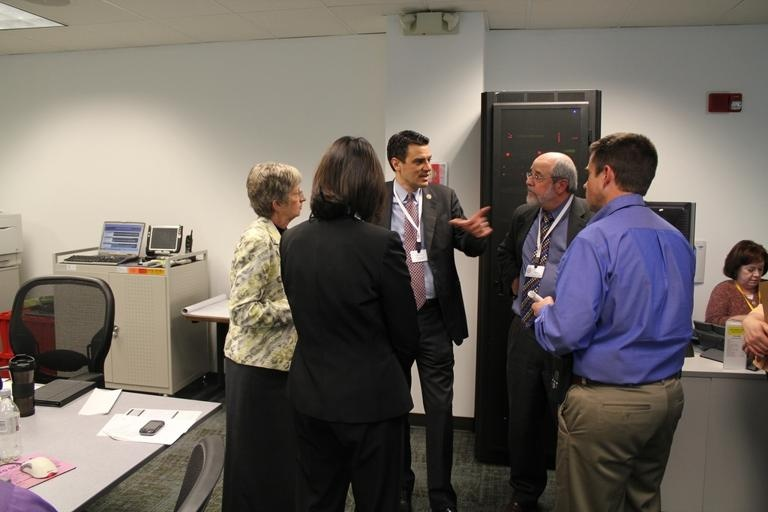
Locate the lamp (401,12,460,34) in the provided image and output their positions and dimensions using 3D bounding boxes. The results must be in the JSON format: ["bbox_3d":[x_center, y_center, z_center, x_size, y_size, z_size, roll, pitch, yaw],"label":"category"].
[{"bbox_3d":[0.339,-1.817,4.371,0.453,0.183,0.064,0,5,10],"label":"lamp"}]

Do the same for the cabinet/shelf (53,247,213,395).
[{"bbox_3d":[-2.409,0.579,5.345,1.086,1.237,0.670,1,4,7],"label":"cabinet/shelf"}]

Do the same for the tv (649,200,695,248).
[{"bbox_3d":[1.609,-0.182,3.153,0.273,0.279,0.146,0,1,9],"label":"tv"}]
